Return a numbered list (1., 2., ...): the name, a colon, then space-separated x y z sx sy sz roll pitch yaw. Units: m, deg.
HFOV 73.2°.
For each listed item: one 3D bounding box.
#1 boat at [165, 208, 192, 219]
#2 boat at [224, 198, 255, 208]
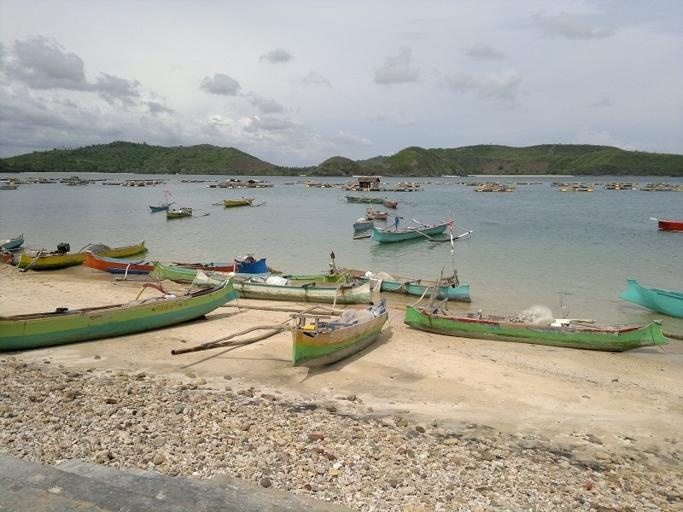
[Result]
1. boat: -23.925 -6.274 68.065 2.461 1.579 6.880 -1 6 -10
2. boat: -20.523 -10.525 91.858 1.701 1.654 9.154 1 6 12
